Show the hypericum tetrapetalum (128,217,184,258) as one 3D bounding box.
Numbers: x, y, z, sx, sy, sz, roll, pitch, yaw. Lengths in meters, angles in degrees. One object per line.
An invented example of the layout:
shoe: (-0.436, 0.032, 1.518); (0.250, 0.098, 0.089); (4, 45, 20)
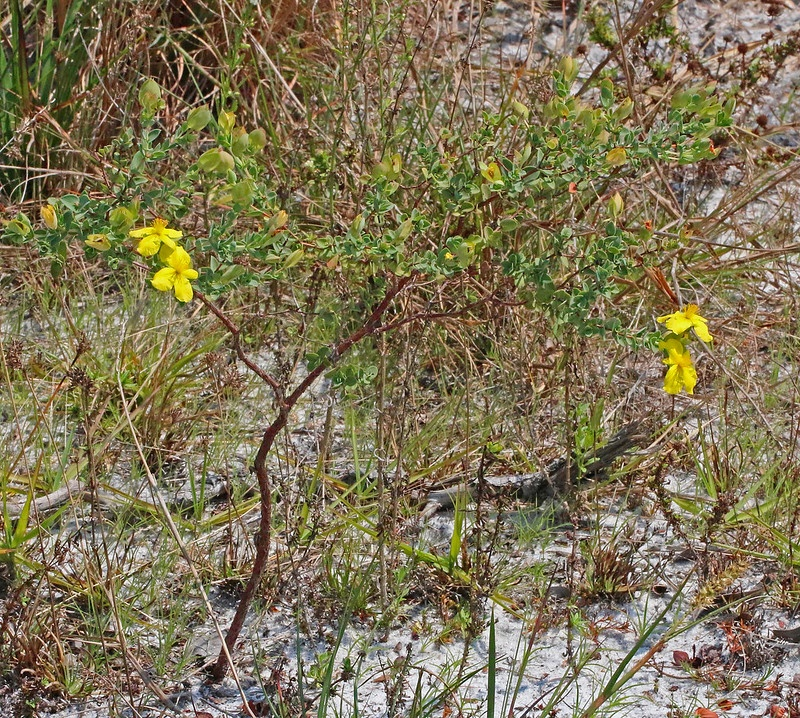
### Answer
hypericum tetrapetalum: (-0.420, -0.192, 1.763); (0.075, 0.036, 0.077); (-27, 69, -18)

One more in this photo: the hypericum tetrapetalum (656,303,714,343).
hypericum tetrapetalum: (0.529, -0.056, 1.900); (0.077, 0.046, 0.079); (-2, 26, -30)

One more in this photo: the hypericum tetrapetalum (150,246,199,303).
hypericum tetrapetalum: (-0.385, -0.146, 1.761); (0.084, 0.088, 0.036); (28, -4, -19)
